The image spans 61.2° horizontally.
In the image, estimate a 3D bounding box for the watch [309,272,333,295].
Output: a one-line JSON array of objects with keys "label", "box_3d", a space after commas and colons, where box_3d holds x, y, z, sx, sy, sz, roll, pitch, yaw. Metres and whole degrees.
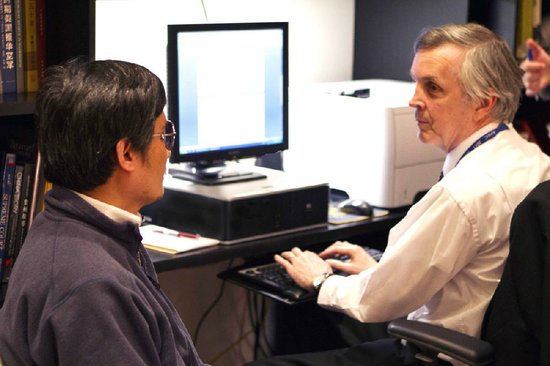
[{"label": "watch", "box_3d": [0.158, 0.347, 1.690, 0.051, 0.074, 0.083, 34, 45, 29]}]

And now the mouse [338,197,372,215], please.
[{"label": "mouse", "box_3d": [0.351, 0.108, 2.034, 0.123, 0.042, 0.073, 16, 15, 37]}]

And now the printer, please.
[{"label": "printer", "box_3d": [0.373, -0.217, 2.238, 0.653, 0.392, 0.652, 13, 19, 38]}]
